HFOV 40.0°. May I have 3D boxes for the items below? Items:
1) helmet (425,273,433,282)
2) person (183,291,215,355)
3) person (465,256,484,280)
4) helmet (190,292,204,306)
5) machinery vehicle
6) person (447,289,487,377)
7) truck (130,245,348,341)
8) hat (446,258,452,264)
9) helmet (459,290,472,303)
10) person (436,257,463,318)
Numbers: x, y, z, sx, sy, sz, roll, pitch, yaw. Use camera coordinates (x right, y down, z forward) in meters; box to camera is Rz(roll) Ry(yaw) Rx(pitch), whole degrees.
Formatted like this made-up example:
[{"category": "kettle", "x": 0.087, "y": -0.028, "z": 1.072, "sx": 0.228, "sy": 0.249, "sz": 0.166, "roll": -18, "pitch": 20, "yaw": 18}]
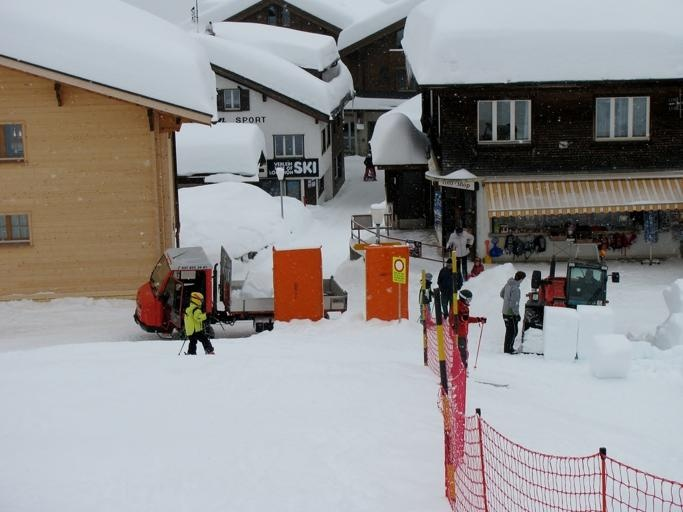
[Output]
[{"category": "helmet", "x": 2.514, "y": 0.608, "z": 26.498, "sx": 0.279, "sy": 0.213, "sz": 0.314, "roll": 0, "pitch": -5, "yaw": -4}, {"category": "person", "x": -3.969, "y": 1.871, "z": 25.954, "sx": 0.745, "sy": 2.035, "sz": 0.710, "roll": 21, "pitch": 31, "yaw": 38}, {"category": "person", "x": 4.827, "y": 0.553, "z": 33.962, "sx": 0.762, "sy": 1.076, "sz": 0.659, "roll": 7, "pitch": 9, "yaw": 29}, {"category": "helmet", "x": -3.764, "y": 1.087, "z": 24.669, "sx": 0.312, "sy": 0.352, "sz": 0.267, "roll": -14, "pitch": 17, "yaw": -16}, {"category": "machinery vehicle", "x": 6.833, "y": 1.060, "z": 28.992, "sx": 1.903, "sy": 2.234, "sz": 3.648, "roll": 2, "pitch": 0, "yaw": 9}, {"category": "person", "x": 3.380, "y": 2.152, "z": 25.134, "sx": 0.947, "sy": 2.952, "sz": 1.030, "roll": -4, "pitch": 21, "yaw": -1}, {"category": "truck", "x": -3.587, "y": 1.715, "z": 29.679, "sx": 5.109, "sy": 2.775, "sz": 3.343, "roll": 0, "pitch": 8, "yaw": -8}, {"category": "hat", "x": 3.670, "y": 0.184, "z": 31.692, "sx": 0.210, "sy": 0.187, "sz": 0.216, "roll": 7, "pitch": 12, "yaw": 39}, {"category": "helmet", "x": 3.139, "y": 1.002, "z": 23.598, "sx": 0.308, "sy": 0.360, "sz": 0.274, "roll": 9, "pitch": -2, "yaw": 28}, {"category": "person", "x": 3.302, "y": 1.077, "z": 28.416, "sx": 0.668, "sy": 2.094, "sz": 0.615, "roll": 5, "pitch": 22, "yaw": 17}]
